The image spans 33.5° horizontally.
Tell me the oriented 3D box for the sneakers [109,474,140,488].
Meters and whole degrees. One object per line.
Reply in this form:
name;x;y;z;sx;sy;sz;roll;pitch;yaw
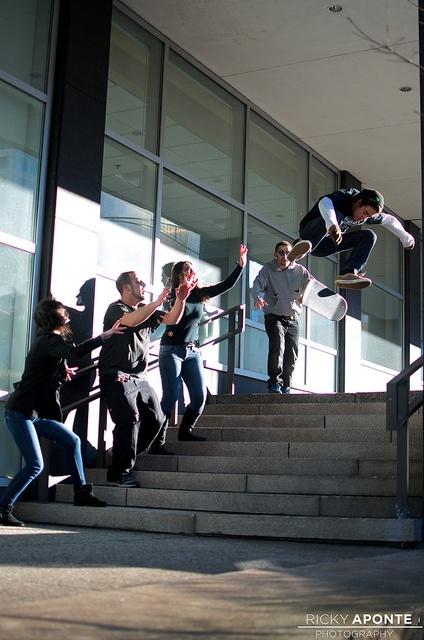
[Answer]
sneakers;-0.718;1.314;5.759;0.308;0.115;0.103;-2;-9;10

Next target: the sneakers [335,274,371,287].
sneakers;1.217;-0.353;6.054;0.343;0.124;0.118;-1;-11;21

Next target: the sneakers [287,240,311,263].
sneakers;0.767;-0.631;6.068;0.195;0.212;0.322;3;-7;6

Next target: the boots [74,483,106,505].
boots;-0.903;1.341;5.372;0.336;0.181;0.116;0;-9;1

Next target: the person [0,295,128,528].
person;-1.126;0.648;5.146;0.709;1.655;0.526;9;-10;-32
